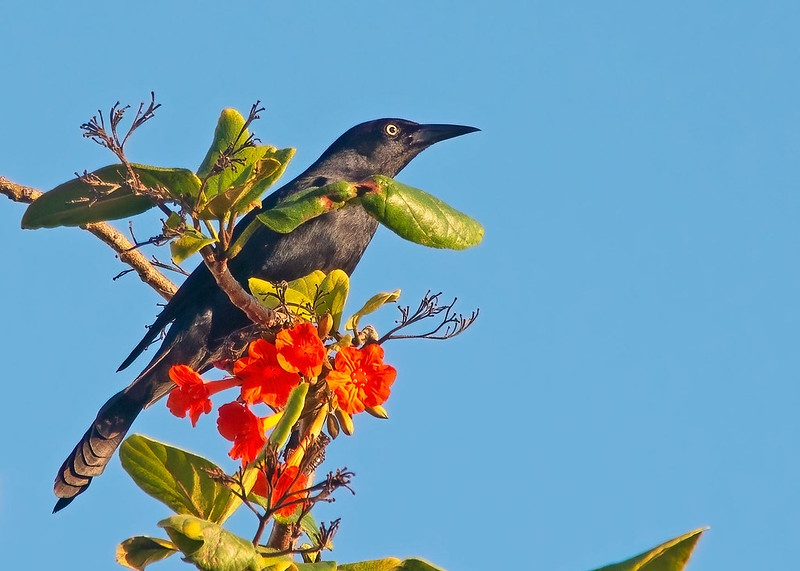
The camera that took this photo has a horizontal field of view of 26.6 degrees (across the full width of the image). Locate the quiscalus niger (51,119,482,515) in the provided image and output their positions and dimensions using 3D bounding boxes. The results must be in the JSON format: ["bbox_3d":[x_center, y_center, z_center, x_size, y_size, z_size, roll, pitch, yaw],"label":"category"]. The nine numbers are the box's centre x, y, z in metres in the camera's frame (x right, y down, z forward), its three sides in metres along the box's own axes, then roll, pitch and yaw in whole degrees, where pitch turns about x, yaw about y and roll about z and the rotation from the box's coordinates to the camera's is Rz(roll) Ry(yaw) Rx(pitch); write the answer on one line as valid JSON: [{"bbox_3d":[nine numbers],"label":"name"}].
[{"bbox_3d":[-0.748,-0.108,8.959,2.422,2.994,1.175,-5,-23,34],"label":"quiscalus niger"}]

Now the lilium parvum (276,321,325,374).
[{"bbox_3d":[-0.420,0.279,7.149,0.179,0.182,0.226,-22,-57,19],"label":"lilium parvum"}]

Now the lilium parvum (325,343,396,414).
[{"bbox_3d":[-0.173,0.393,7.190,0.285,0.260,0.251,8,-52,-3],"label":"lilium parvum"}]

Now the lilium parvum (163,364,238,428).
[{"bbox_3d":[-0.837,0.417,7.329,0.375,0.157,0.266,-26,-75,-1],"label":"lilium parvum"}]

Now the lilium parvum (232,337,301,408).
[{"bbox_3d":[-0.578,0.370,7.177,0.247,0.293,0.265,-4,-6,43],"label":"lilium parvum"}]
